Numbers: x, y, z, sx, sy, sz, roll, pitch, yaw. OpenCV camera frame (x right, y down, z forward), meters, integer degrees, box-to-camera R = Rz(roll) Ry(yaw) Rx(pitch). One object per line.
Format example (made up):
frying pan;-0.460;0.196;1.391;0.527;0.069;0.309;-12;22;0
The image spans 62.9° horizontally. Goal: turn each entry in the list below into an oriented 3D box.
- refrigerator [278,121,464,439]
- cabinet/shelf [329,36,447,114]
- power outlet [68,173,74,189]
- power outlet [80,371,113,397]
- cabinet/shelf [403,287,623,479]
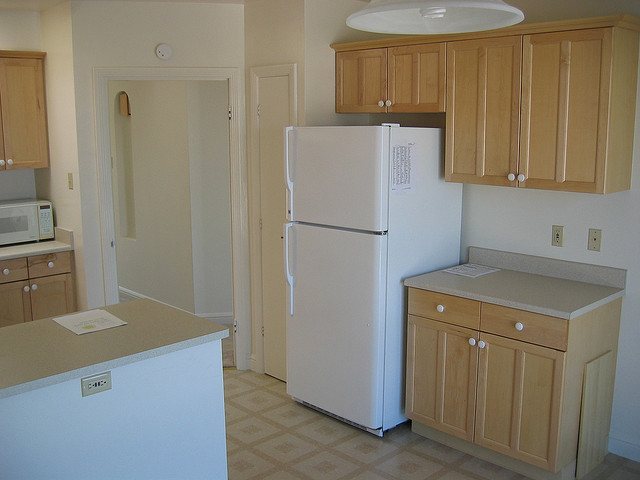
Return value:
refrigerator;0.298;0.212;3.925;1.004;1.893;0.994;-7;12;-40
cabinet/shelf;0.555;-1.184;3.834;0.935;0.484;0.292;12;20;40
power outlet;-2.176;-0.520;4.571;0.019;0.143;0.116;-14;18;-41
power outlet;-1.003;0.638;2.333;0.018;0.088;0.133;15;19;43
cabinet/shelf;1.151;0.694;3.627;1.044;1.326;1.422;-6;9;-43
